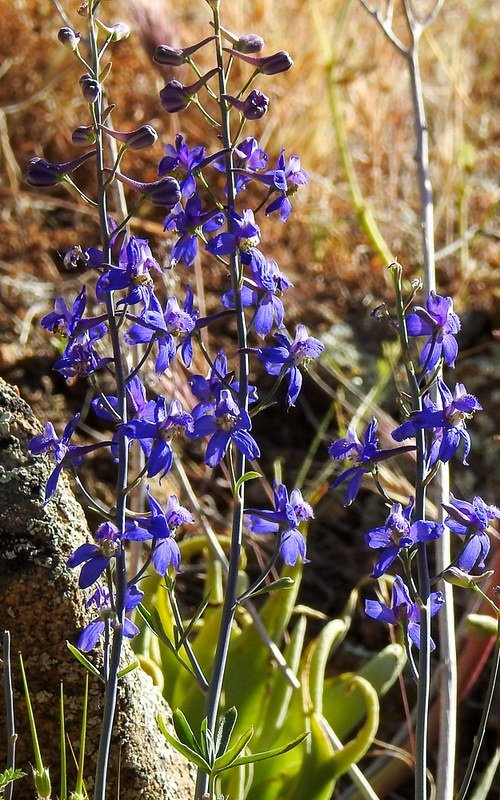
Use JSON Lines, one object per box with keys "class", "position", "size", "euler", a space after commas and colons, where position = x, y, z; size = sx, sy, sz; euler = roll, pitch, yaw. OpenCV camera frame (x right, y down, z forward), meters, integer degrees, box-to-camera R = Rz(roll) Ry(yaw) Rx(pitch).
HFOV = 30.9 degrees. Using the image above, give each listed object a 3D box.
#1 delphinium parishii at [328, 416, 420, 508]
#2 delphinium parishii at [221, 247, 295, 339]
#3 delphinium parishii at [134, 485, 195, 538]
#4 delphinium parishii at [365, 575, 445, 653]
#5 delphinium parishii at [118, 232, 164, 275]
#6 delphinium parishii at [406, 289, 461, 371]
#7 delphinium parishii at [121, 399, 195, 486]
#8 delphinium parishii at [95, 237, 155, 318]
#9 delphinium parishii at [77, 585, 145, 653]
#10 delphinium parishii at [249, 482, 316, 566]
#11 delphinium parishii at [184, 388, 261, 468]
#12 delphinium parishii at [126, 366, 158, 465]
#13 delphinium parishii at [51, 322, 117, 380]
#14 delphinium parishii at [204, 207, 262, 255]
{"class": "delphinium parishii", "position": [0.241, 0.108, 1.713], "size": [0.092, 0.173, 0.174], "euler": [22, 20, -22]}
{"class": "delphinium parishii", "position": [0.035, -0.196, 1.707], "size": [0.161, 0.190, 0.193], "euler": [1, 29, 3]}
{"class": "delphinium parishii", "position": [-0.151, 0.213, 1.618], "size": [0.100, 0.093, 0.044], "euler": [-7, 27, 0]}
{"class": "delphinium parishii", "position": [0.284, 0.386, 1.747], "size": [0.147, 0.133, 0.163], "euler": [10, 35, 17]}
{"class": "delphinium parishii", "position": [-0.196, -0.243, 1.567], "size": [0.051, 0.070, 0.070], "euler": [-27, 1, 30]}
{"class": "delphinium parishii", "position": [0.337, -0.119, 1.672], "size": [0.093, 0.140, 0.189], "euler": [10, -2, 14]}
{"class": "delphinium parishii", "position": [-0.165, 0.066, 1.573], "size": [0.120, 0.139, 0.156], "euler": [10, -2, -6]}
{"class": "delphinium parishii", "position": [-0.184, -0.203, 1.585], "size": [0.125, 0.110, 0.120], "euler": [-19, -12, -7]}
{"class": "delphinium parishii", "position": [-0.267, 0.398, 1.665], "size": [0.142, 0.053, 0.118], "euler": [-22, 25, 0]}
{"class": "delphinium parishii", "position": [0.077, 0.214, 1.698], "size": [0.162, 0.146, 0.155], "euler": [4, 10, 9]}
{"class": "delphinium parishii", "position": [-0.039, 0.050, 1.575], "size": [0.139, 0.128, 0.078], "euler": [25, -2, 4]}
{"class": "delphinium parishii", "position": [-0.198, 0.032, 1.622], "size": [0.040, 0.126, 0.079], "euler": [-1, -8, -42]}
{"class": "delphinium parishii", "position": [-0.302, -0.090, 1.642], "size": [0.093, 0.104, 0.130], "euler": [10, -2, -14]}
{"class": "delphinium parishii", "position": [-0.030, -0.286, 1.575], "size": [0.088, 0.079, 0.041], "euler": [10, -1, -10]}
